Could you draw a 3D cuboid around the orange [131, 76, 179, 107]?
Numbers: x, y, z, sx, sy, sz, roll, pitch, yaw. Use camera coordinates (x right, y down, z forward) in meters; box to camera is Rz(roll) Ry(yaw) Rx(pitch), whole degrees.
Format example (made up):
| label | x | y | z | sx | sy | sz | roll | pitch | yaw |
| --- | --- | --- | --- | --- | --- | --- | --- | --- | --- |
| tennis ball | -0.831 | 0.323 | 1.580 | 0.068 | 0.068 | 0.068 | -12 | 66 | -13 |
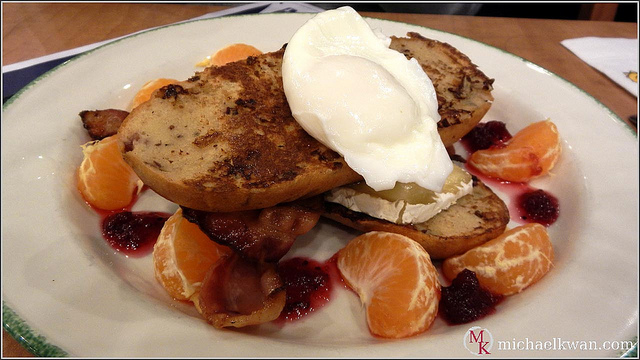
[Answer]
| label | x | y | z | sx | sy | sz | roll | pitch | yaw |
| --- | --- | --- | --- | --- | --- | --- | --- | --- | --- |
| orange | -1.767 | -0.983 | 5.912 | 0.434 | 0.181 | 0.362 | 0 | 46 | 2 |
